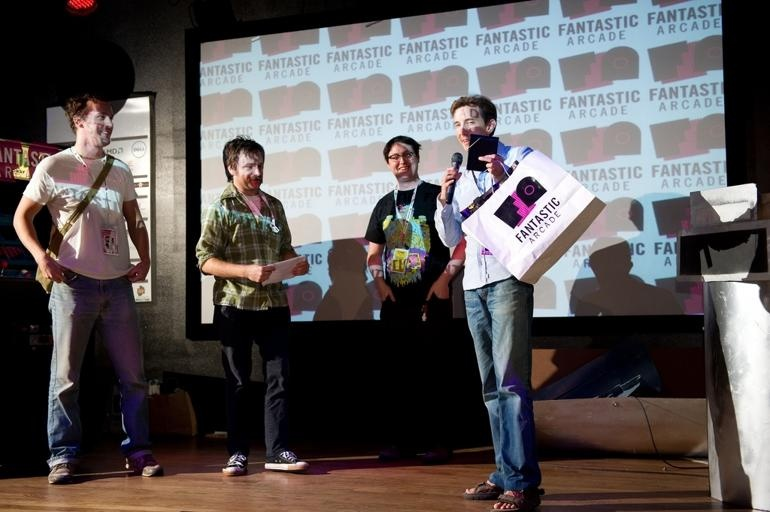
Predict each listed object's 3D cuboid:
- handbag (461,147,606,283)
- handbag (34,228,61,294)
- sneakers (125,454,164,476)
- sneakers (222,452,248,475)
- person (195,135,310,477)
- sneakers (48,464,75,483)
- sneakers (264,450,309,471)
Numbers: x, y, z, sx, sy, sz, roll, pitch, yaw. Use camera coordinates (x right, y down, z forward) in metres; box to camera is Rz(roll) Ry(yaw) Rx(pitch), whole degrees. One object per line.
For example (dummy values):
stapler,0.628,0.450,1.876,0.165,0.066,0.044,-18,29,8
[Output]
handbag,0.926,-0.243,4.182,0.761,0.721,0.296,-44,-17,4
handbag,-2.305,0.018,4.638,0.116,0.386,0.278,11,-1,-44
sneakers,-1.707,1.451,4.701,0.322,0.131,0.119,-7,-16,36
sneakers,-1.034,1.446,4.748,0.128,0.147,0.245,-2,-4,31
person,-0.959,0.312,4.770,0.752,2.411,0.614,1,-3,-15
sneakers,-2.212,1.453,4.534,0.152,0.130,0.115,1,-4,-27
sneakers,-0.706,1.447,4.781,0.306,0.123,0.132,-4,-15,21
